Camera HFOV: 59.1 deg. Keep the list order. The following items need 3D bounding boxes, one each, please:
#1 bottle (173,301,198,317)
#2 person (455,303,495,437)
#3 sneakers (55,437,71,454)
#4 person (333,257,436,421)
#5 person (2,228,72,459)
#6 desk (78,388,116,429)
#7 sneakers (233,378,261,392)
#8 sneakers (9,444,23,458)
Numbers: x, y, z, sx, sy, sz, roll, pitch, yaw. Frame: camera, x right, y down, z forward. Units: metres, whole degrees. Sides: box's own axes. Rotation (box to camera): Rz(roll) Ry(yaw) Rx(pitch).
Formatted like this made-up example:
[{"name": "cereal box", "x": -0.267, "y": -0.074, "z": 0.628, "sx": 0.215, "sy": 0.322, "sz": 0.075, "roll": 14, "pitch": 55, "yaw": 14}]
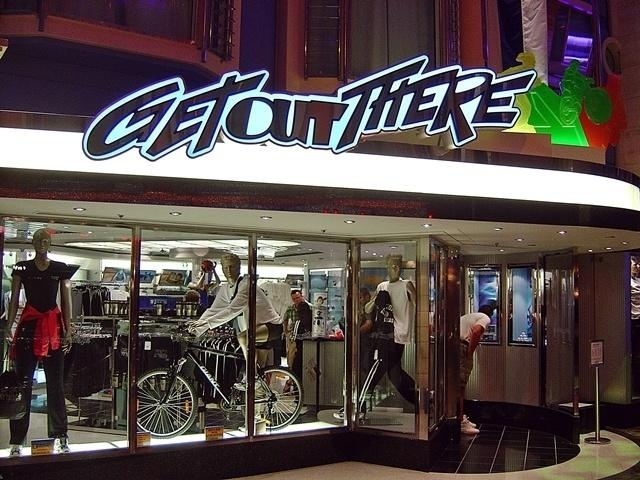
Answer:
[{"name": "bottle", "x": -1.567, "y": 0.817, "z": 6.571, "sx": 0.229, "sy": 0.176, "sz": 0.158, "roll": 3, "pitch": -7, "yaw": -28}, {"name": "person", "x": 2.462, "y": 2.017, "z": 8.888, "sx": 0.463, "sy": 1.920, "sz": 1.226, "roll": 0, "pitch": -2, "yaw": 17}, {"name": "sneakers", "x": -2.745, "y": 2.178, "z": 5.975, "sx": 0.148, "sy": 0.150, "sz": 0.073, "roll": 2, "pitch": -2, "yaw": -28}, {"name": "person", "x": 0.909, "y": 1.159, "z": 7.224, "sx": 0.694, "sy": 1.854, "sz": 0.203, "roll": 1, "pitch": -2, "yaw": 12}, {"name": "person", "x": -2.980, "y": 1.063, "z": 5.970, "sx": 0.627, "sy": 2.338, "sz": 0.219, "roll": 2, "pitch": -2, "yaw": -28}, {"name": "desk", "x": -2.628, "y": 1.927, "z": 6.426, "sx": 0.363, "sy": 0.533, "sz": 0.708, "roll": 1, "pitch": -11, "yaw": -11}, {"name": "sneakers", "x": -0.879, "y": 1.765, "z": 6.871, "sx": 0.362, "sy": 0.170, "sz": 0.129, "roll": 10, "pitch": -11, "yaw": -14}, {"name": "sneakers", "x": -3.158, "y": 2.181, "z": 5.820, "sx": 0.103, "sy": 0.117, "sz": 0.108, "roll": 1, "pitch": -12, "yaw": -5}]
